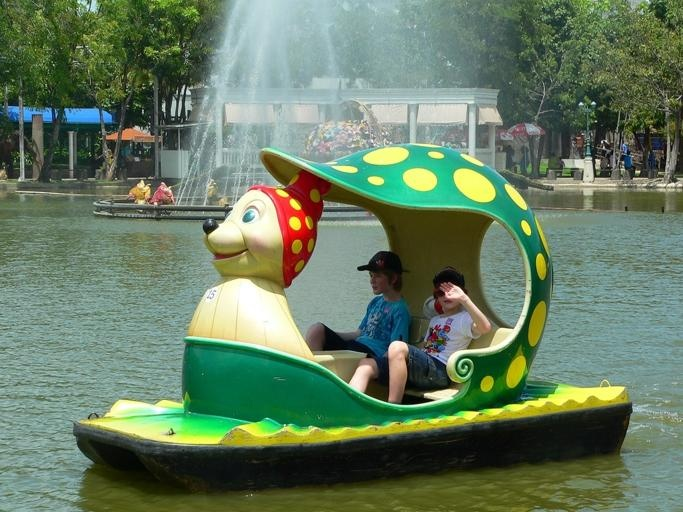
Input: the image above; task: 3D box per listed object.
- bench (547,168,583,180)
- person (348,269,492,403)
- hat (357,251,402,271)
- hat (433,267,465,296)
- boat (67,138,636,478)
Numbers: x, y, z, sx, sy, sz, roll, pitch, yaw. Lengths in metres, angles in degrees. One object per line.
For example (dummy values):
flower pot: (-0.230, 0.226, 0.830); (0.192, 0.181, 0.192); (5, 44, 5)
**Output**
bench: (12.083, -4.402, 57.690); (1.826, 0.442, 1.724); (2, 4, 19)
person: (0.662, 0.612, 8.315); (1.157, 1.182, 0.908); (4, 8, -26)
hat: (0.345, 0.034, 8.608); (0.274, 0.127, 0.173); (-1, 0, -16)
hat: (0.861, 0.168, 8.415); (0.177, 0.209, 0.230); (4, 44, -1)
boat: (0.374, 0.493, 8.785); (4.290, 2.413, 2.274); (2, -1, -29)
